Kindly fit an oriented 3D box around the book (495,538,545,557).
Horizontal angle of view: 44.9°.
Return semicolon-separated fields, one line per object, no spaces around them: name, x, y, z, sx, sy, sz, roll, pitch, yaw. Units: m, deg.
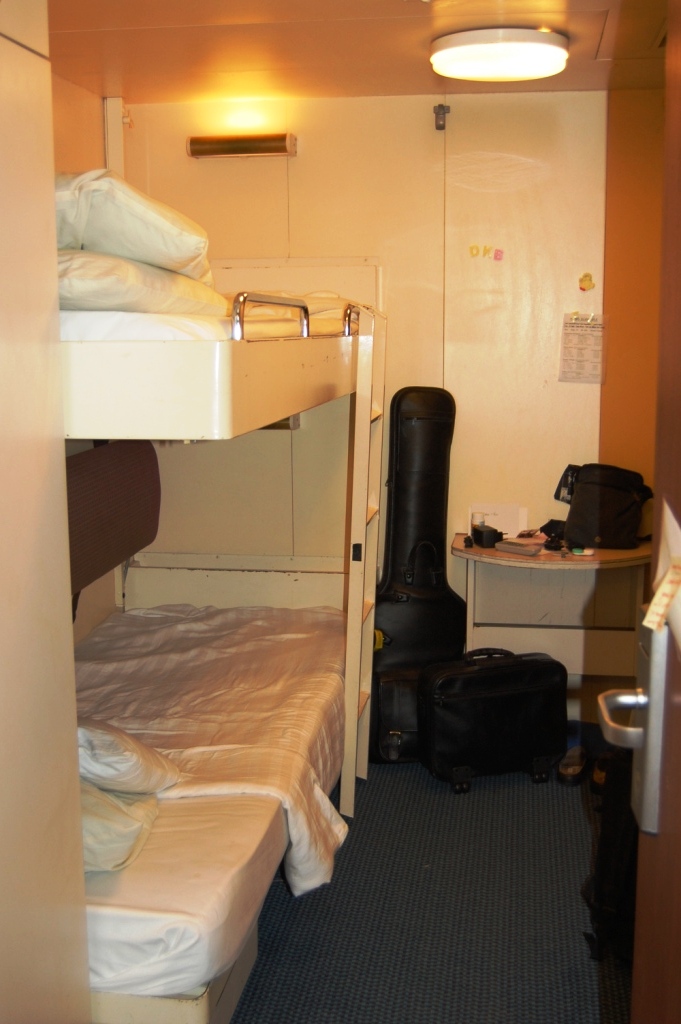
book;0.810;0.160;3.715;0.213;0.053;0.236;-1;6;34

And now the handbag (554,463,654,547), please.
handbag;1.191;-0.063;3.756;0.394;0.334;0.427;15;51;27

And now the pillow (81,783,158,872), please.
pillow;-0.448;0.618;1.612;0.044;0.122;0.153;-14;-12;29

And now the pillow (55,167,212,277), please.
pillow;-0.378;-0.502;1.472;0.211;0.092;0.220;5;-3;33

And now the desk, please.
desk;1.004;0.453;3.897;0.808;0.808;0.645;0;4;5
